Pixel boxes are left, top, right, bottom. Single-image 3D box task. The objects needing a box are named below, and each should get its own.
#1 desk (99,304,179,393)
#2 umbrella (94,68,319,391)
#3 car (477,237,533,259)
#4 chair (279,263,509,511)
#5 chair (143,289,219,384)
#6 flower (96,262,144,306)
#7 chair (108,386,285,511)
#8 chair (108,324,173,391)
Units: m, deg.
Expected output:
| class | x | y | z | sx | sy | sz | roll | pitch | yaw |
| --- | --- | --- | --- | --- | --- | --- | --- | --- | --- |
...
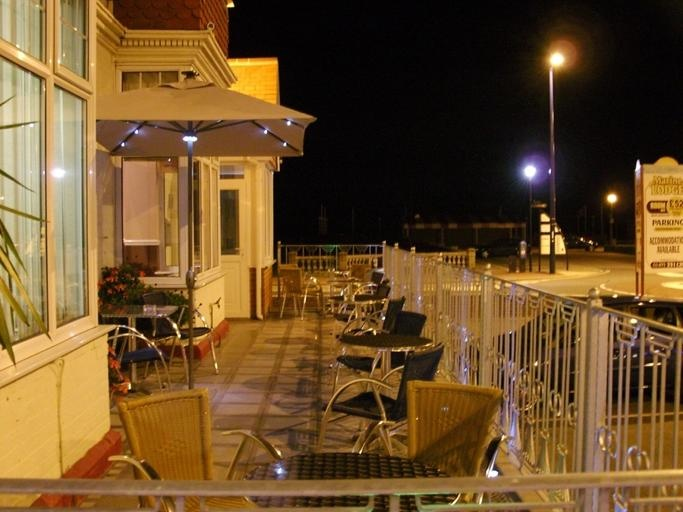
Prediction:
| class | x | y | z | sx | sy | sz | roll | pitch | yaw |
| --- | --- | --- | --- | --- | --- | --- | --- | --- | --- |
| desk | -2.192 | 1.089 | 8.097 | 0.759 | 1.128 | 1.074 | -2 | -1 | 3 |
| umbrella | -1.815 | -0.416 | 8.688 | 3.048 | 4.149 | 2.853 | -2 | 2 | 7 |
| car | 9.297 | -0.401 | 42.350 | 2.331 | 1.107 | 3.274 | 3 | 5 | 13 |
| chair | 0.452 | 0.769 | 4.595 | 1.011 | 1.584 | 1.078 | 1 | -2 | 29 |
| chair | -1.974 | 0.892 | 8.553 | 0.631 | 0.985 | 0.657 | -5 | 4 | 3 |
| flower | -2.685 | 0.356 | 8.800 | 0.422 | 0.599 | 0.548 | -7 | 3 | 1 |
| chair | -0.913 | 1.123 | 4.571 | 0.753 | 1.131 | 0.752 | 3 | -14 | -34 |
| chair | -2.187 | 1.021 | 7.842 | 0.512 | 0.736 | 0.491 | 3 | -14 | -27 |
